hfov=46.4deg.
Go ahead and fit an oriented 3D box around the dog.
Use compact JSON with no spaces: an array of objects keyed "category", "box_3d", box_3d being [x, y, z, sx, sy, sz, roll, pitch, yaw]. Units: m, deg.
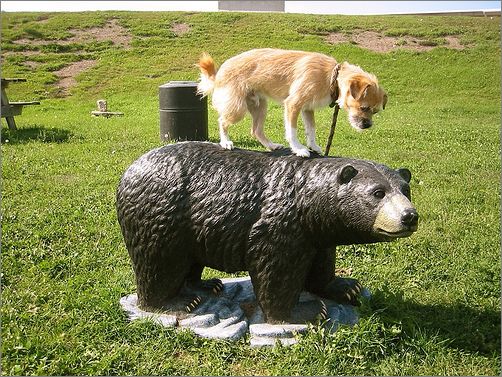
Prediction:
[{"category":"dog","box_3d":[0.426,-1.101,7.739,2.391,1.414,0.823,7,19,18]}]
